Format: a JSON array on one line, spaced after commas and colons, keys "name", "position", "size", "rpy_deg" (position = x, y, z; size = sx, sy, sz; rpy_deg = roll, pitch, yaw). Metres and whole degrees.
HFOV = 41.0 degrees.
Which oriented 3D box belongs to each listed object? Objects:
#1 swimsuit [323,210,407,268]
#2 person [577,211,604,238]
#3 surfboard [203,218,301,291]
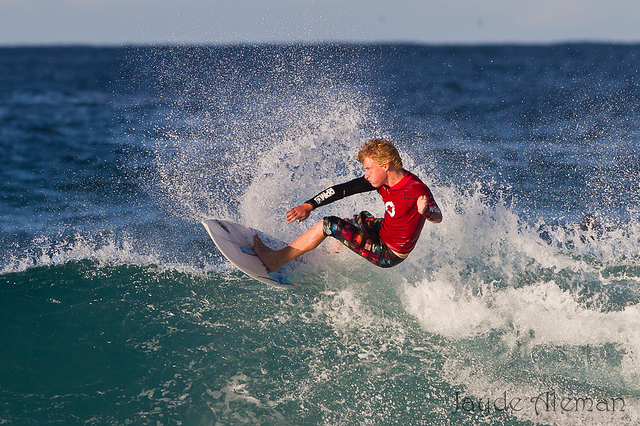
[{"name": "swimsuit", "position": [1.031, 0.641, 20.266], "size": [1.804, 1.079, 0.585], "rpy_deg": [34, -48, 13]}, {"name": "person", "position": [7.154, 0.338, 22.881], "size": [0.540, 1.041, 0.202], "rpy_deg": [11, -42, 7]}, {"name": "surfboard", "position": [-1.488, 0.983, 20.847], "size": [3.078, 1.621, 0.430], "rpy_deg": [28, -57, -34]}]
